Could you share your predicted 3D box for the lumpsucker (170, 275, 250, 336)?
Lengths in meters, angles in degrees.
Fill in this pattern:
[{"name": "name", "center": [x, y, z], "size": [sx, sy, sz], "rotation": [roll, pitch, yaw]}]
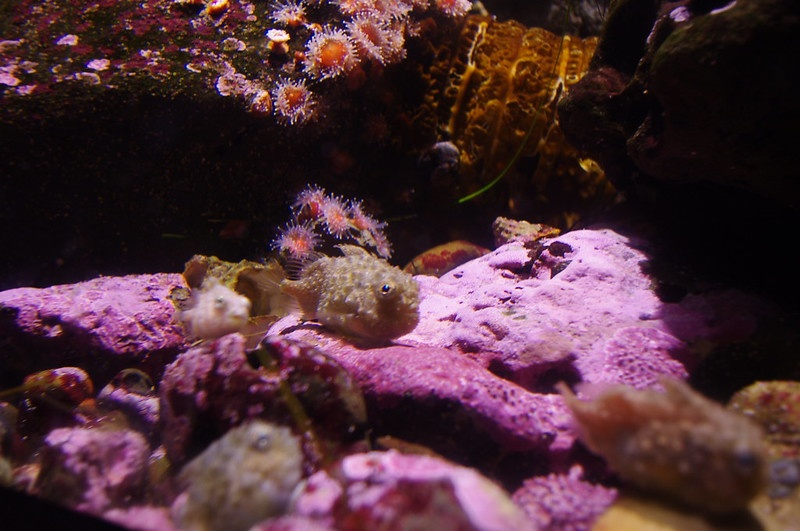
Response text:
[{"name": "lumpsucker", "center": [-1.145, 0.301, 3.956], "size": [0.414, 0.224, 0.304], "rotation": [30, 44, 22]}]
